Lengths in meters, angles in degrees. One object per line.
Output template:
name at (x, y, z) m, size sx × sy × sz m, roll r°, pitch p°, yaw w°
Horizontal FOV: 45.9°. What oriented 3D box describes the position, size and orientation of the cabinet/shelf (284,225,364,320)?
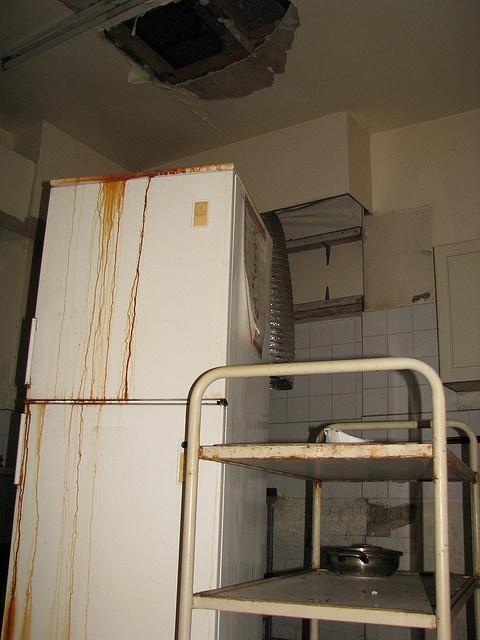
cabinet/shelf at (0.511, -0.276, 3.345) m, size 0.517 × 0.582 × 0.200 m, roll -1°, pitch -6°, yaw 31°
